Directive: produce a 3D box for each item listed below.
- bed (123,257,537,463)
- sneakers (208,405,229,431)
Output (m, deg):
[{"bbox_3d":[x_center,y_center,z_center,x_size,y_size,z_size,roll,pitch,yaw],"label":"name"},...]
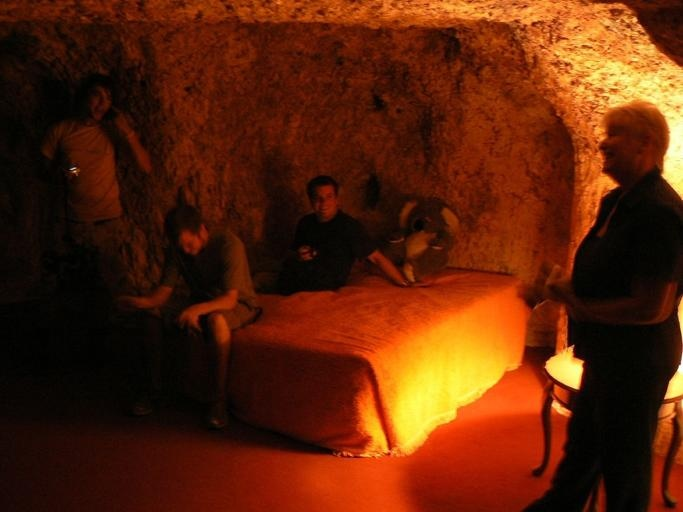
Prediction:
[{"bbox_3d":[-0.097,0.362,3.208,1.121,0.354,1.190,6,15,36],"label":"bed"},{"bbox_3d":[-0.679,0.875,3.183,0.111,0.110,0.094,4,18,-10],"label":"sneakers"}]
